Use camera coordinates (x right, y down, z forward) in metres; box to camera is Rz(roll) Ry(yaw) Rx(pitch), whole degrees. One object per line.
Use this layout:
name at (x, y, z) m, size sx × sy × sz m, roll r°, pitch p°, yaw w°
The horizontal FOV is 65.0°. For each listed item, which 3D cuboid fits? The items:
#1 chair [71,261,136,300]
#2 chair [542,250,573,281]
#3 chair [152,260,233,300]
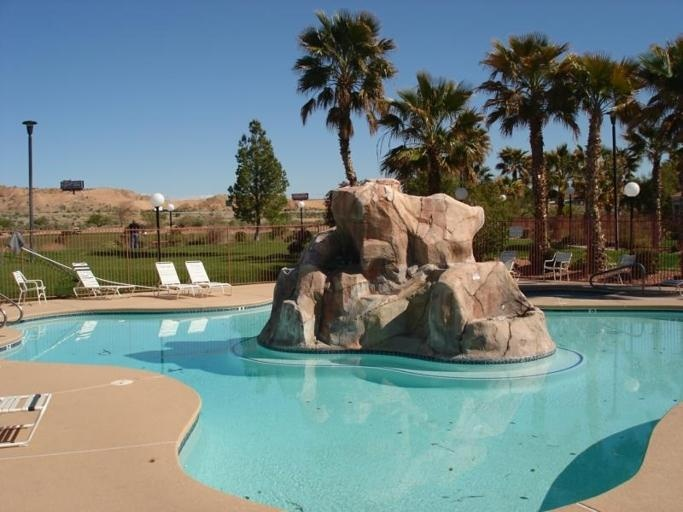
chair at (-8.108, 0.929, 17.860) m, size 2.301 × 1.448 × 1.272 m, roll 2°, pitch 3°, yaw 26°
chair at (8.418, 0.314, 20.944) m, size 0.854 × 1.017 × 2.366 m, roll 1°, pitch 6°, yaw 21°
chair at (-5.103, 0.801, 17.688) m, size 1.594 × 0.948 × 1.562 m, roll -1°, pitch 0°, yaw -44°
